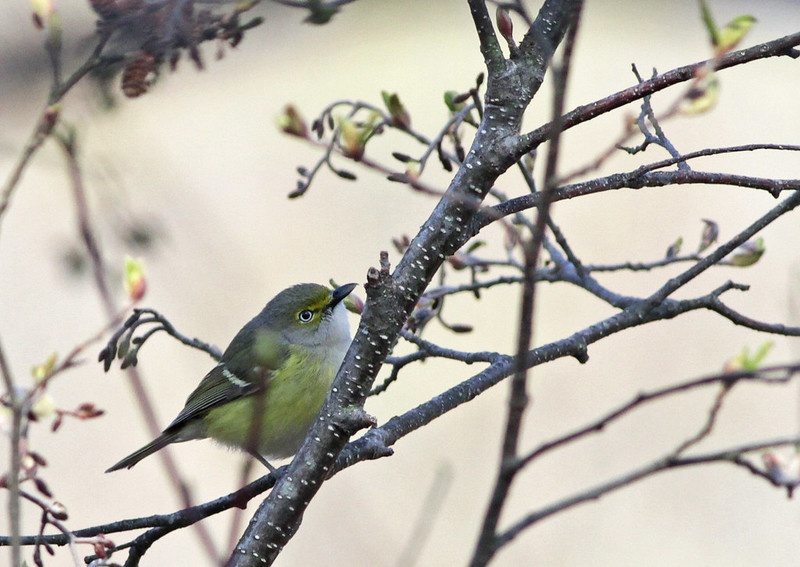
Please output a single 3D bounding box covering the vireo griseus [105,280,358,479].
[{"bbox_3d":[-0.610,0.436,4.108,1.050,0.730,0.385,-17,-39,5],"label":"vireo griseus"}]
